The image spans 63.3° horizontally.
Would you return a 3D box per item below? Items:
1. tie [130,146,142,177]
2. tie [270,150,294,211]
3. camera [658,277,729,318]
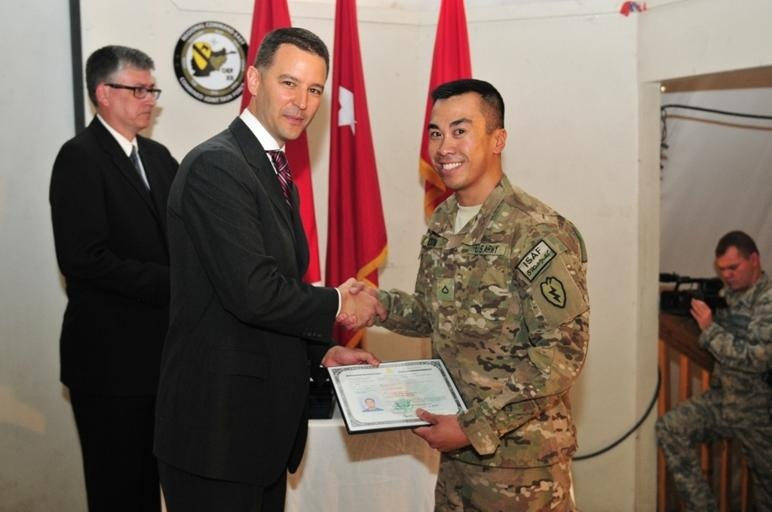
[{"bbox_3d":[-1.437,-0.540,3.631,0.041,0.311,0.036,-18,-34,-7],"label":"tie"},{"bbox_3d":[-0.499,-0.376,3.052,0.054,0.245,0.139,-10,2,39],"label":"tie"},{"bbox_3d":[2.118,0.280,4.364,0.431,0.294,0.258,4,0,-1],"label":"camera"}]
